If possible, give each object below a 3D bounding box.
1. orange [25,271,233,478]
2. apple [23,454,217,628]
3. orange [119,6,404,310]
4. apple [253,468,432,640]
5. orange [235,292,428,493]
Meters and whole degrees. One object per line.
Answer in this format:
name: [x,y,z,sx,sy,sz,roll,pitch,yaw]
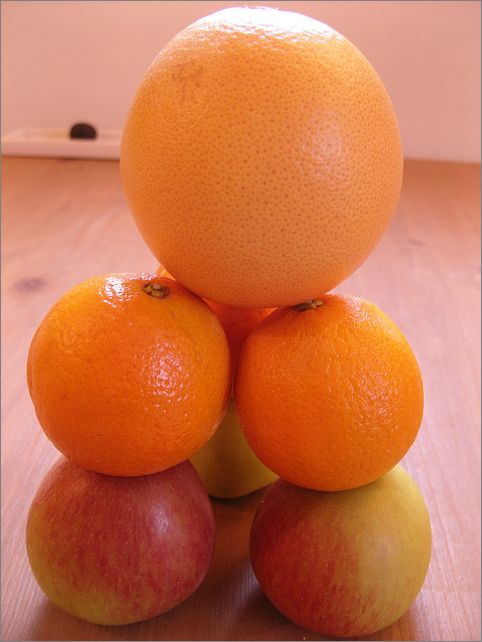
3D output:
orange: [-0.060,0.040,0.459,0.134,0.137,0.132,13,3,7]
apple: [-0.091,0.166,0.486,0.136,0.135,0.138,6,17,3]
orange: [0.003,-0.107,0.471,0.178,0.206,0.186,-4,30,31]
apple: [0.078,0.169,0.491,0.118,0.114,0.120,0,4,-7]
orange: [0.066,0.049,0.440,0.129,0.110,0.117,-24,39,-29]
